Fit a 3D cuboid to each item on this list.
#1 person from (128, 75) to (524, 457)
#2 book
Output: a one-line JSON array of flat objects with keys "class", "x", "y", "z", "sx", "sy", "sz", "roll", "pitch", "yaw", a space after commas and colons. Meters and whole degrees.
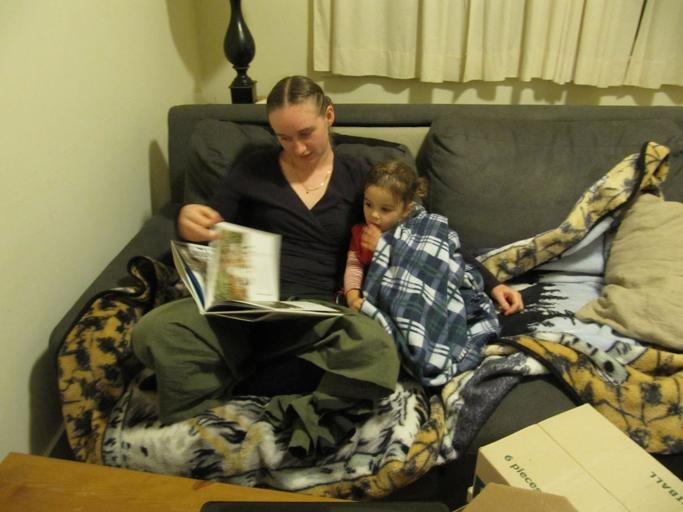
[{"class": "person", "x": -0.002, "y": 0.009, "z": 1.732, "sx": 1.108, "sy": 1.050, "sz": 0.622, "roll": 7, "pitch": 13, "yaw": 4}, {"class": "book", "x": -0.308, "y": 0.042, "z": 1.602, "sx": 0.365, "sy": 0.142, "sz": 0.336, "roll": 8, "pitch": 23, "yaw": -6}]
